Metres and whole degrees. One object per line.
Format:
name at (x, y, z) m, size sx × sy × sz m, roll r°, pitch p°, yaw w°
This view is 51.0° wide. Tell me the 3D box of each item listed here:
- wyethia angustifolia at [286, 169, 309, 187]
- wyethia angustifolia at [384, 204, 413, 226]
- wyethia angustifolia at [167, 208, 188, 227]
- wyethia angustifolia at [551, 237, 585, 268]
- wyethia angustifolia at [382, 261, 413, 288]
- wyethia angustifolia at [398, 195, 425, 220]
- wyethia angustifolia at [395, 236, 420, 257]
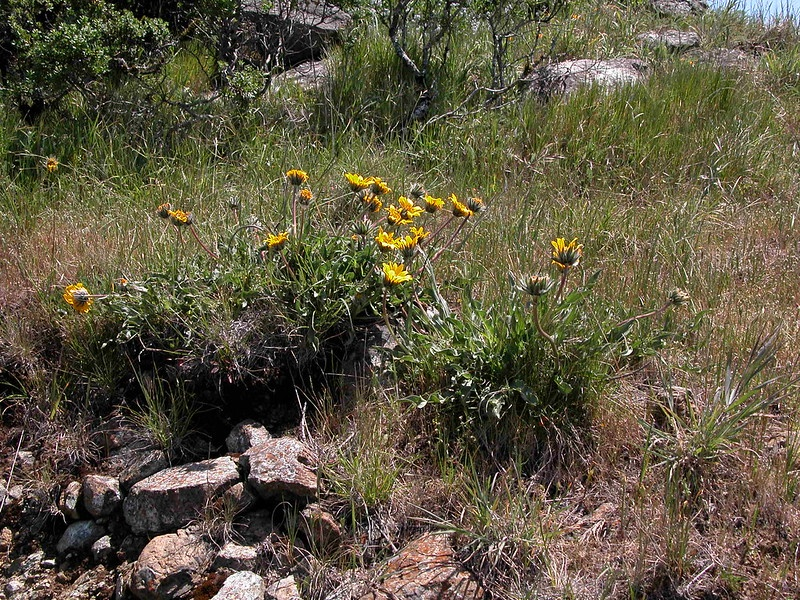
wyethia angustifolia at (-0.567, -0.685, 4.718) m, size 0.121 × 0.100 × 0.140 m, roll 5°, pitch 9°, yaw 23°
wyethia angustifolia at (-0.004, -0.473, 4.722) m, size 0.103 × 0.065 × 0.121 m, roll 17°, pitch 30°, yaw -38°
wyethia angustifolia at (-1.244, -0.466, 4.736) m, size 0.088 × 0.074 × 0.124 m, roll 5°, pitch 50°, yaw -18°
wyethia angustifolia at (0.888, -0.248, 4.437) m, size 0.144 × 0.177 × 0.151 m, roll 5°, pitch -6°, yaw -37°
wyethia angustifolia at (-0.043, -0.121, 4.435) m, size 0.108 × 0.068 × 0.148 m, roll 6°, pitch 42°, yaw -21°
wyethia angustifolia at (0.069, -0.553, 5.006) m, size 0.142 × 0.061 × 0.155 m, roll 42°, pitch 21°, yaw -28°
wyethia angustifolia at (0.039, -0.299, 4.486) m, size 0.123 × 0.119 × 0.133 m, roll 12°, pitch 29°, yaw 3°
